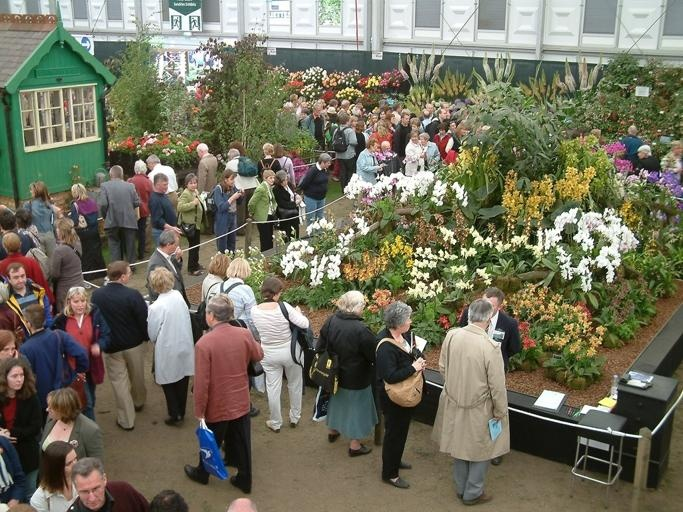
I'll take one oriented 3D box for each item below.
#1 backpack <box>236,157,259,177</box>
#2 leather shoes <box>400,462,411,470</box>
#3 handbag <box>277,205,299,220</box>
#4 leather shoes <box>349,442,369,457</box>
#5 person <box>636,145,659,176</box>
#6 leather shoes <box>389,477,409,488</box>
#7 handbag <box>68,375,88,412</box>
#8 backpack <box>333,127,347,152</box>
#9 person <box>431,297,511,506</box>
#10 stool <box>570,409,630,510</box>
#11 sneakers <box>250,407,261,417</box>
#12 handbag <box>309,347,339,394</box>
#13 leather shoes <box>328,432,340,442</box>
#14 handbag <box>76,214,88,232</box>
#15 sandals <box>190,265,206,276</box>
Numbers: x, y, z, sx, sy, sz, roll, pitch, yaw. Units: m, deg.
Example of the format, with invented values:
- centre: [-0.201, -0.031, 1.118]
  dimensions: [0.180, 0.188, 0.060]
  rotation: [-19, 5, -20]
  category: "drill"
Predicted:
- centre: [-1.737, -1.668, 12.710]
  dimensions: [0.289, 0.482, 0.467]
  rotation: [2, 15, 16]
  category: "backpack"
- centre: [0.704, 2.345, 7.587]
  dimensions: [0.140, 0.112, 0.053]
  rotation: [-5, 40, 5]
  category: "leather shoes"
- centre: [-0.970, -0.677, 12.235]
  dimensions: [0.380, 0.418, 0.155]
  rotation: [-1, -3, -19]
  category: "handbag"
- centre: [0.181, 2.220, 7.782]
  dimensions: [0.232, 0.118, 0.130]
  rotation: [-9, 19, -23]
  category: "leather shoes"
- centre: [5.780, -1.820, 12.836]
  dimensions: [0.413, 0.456, 0.998]
  rotation: [8, 17, 23]
  category: "person"
- centre: [0.616, 2.429, 7.371]
  dimensions: [0.181, 0.081, 0.100]
  rotation: [5, 23, 25]
  category: "leather shoes"
- centre: [-2.920, 1.545, 7.559]
  dimensions: [0.135, 0.555, 0.442]
  rotation: [-3, 15, -15]
  category: "handbag"
- centre: [-0.034, -2.508, 14.877]
  dimensions: [0.408, 0.631, 0.330]
  rotation: [2, 18, 11]
  category: "backpack"
- centre: [1.335, 1.531, 6.974]
  dimensions: [0.771, 2.162, 0.377]
  rotation: [4, 14, 11]
  category: "person"
- centre: [2.745, 2.106, 7.295]
  dimensions: [0.522, 0.848, 0.602]
  rotation: [8, 16, 25]
  category: "stool"
- centre: [-1.084, 1.945, 8.476]
  dimensions: [0.106, 0.094, 0.199]
  rotation: [-3, -1, -20]
  category: "sneakers"
- centre: [-0.197, 1.275, 7.489]
  dimensions: [0.324, 0.466, 0.162]
  rotation: [8, 16, 25]
  category: "handbag"
- centre: [-0.106, 2.133, 7.994]
  dimensions: [0.058, 0.079, 0.171]
  rotation: [5, 16, 16]
  category: "leather shoes"
- centre: [-4.132, -0.506, 10.876]
  dimensions: [0.139, 0.220, 0.183]
  rotation: [-6, -21, -4]
  category: "handbag"
- centre: [-2.521, 0.271, 11.957]
  dimensions: [0.101, 0.215, 0.302]
  rotation: [-8, 10, -41]
  category: "sandals"
